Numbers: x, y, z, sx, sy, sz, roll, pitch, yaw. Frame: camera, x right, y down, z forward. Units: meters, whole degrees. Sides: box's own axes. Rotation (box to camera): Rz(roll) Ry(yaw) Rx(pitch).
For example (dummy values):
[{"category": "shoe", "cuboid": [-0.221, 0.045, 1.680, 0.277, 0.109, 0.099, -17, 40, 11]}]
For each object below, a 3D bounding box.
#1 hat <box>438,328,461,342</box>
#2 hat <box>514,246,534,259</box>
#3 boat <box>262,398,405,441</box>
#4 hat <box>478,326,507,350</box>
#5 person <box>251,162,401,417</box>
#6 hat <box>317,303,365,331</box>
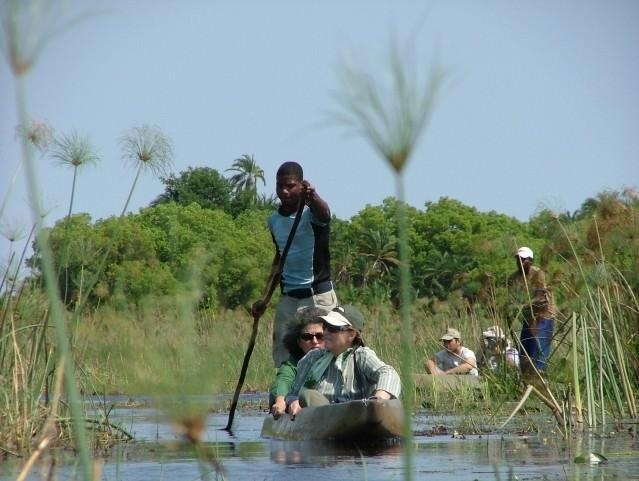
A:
[{"category": "hat", "cuboid": [1.843, 1.337, 11.545, 0.258, 0.167, 0.188, 7, -10, -33]}, {"category": "hat", "cuboid": [2.382, 0.144, 9.511, 0.172, 0.164, 0.261, 6, -17, 42]}, {"category": "boat", "cuboid": [0.107, 1.517, 6.728, 1.180, 0.311, 0.544, -14, -19, 36]}, {"category": "hat", "cuboid": [1.829, 1.035, 8.599, 0.272, 0.214, 0.418, -1, -25, 15]}, {"category": "person", "cuboid": [-0.190, 0.401, 7.799, 0.712, 2.568, 1.606, -1, -12, 1]}, {"category": "hat", "cuboid": [0.212, 0.681, 7.113, 0.282, 0.181, 0.211, 21, -8, -23]}]
